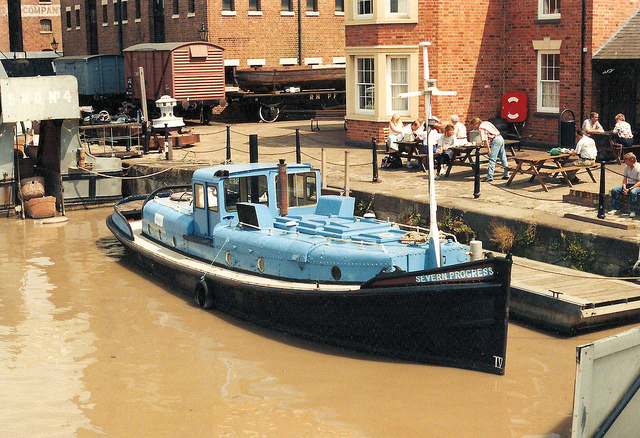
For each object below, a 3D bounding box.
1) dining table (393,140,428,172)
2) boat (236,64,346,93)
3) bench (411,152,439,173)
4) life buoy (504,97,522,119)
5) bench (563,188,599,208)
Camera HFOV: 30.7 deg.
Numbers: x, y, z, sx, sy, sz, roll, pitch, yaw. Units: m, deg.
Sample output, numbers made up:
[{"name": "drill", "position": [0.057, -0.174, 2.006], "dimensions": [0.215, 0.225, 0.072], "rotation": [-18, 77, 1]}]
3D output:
[{"name": "dining table", "position": [2.796, -1.755, 36.352], "dimensions": [0.780, 0.758, 1.477], "rotation": [-13, 18, -27]}, {"name": "boat", "position": [-0.630, -6.390, 54.123], "dimensions": [7.082, 1.435, 1.953], "rotation": [-6, 9, -33]}, {"name": "bench", "position": [3.066, -1.656, 34.357], "dimensions": [0.922, 0.238, 0.364], "rotation": [-11, 17, -40]}, {"name": "life buoy", "position": [6.516, -3.759, 39.614], "dimensions": [0.091, 0.924, 0.646], "rotation": [-9, 0, -44]}, {"name": "bench", "position": [7.038, -0.564, 31.649], "dimensions": [0.240, 0.383, 1.167], "rotation": [-9, 14, -37]}]
